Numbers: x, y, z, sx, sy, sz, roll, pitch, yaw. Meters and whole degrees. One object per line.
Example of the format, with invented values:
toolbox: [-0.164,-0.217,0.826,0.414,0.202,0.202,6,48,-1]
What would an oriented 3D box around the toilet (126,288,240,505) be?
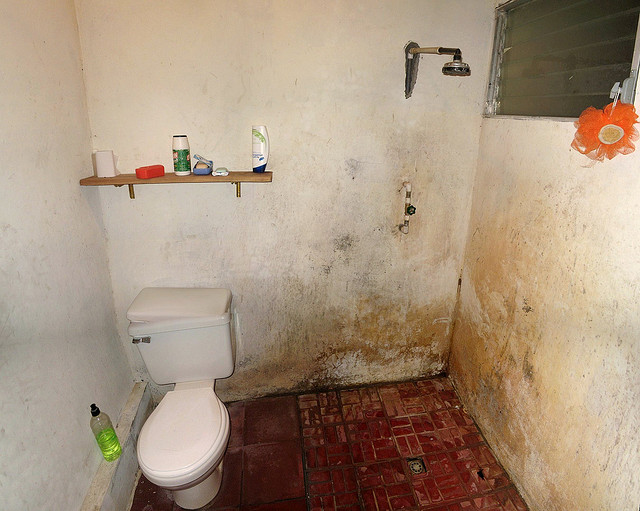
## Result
toilet: [-0.715,0.758,2.706,0.627,1.027,0.874,-7,16,-10]

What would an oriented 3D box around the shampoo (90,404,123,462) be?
shampoo: [-1.074,0.911,2.551,0.129,0.298,0.126,-8,22,-22]

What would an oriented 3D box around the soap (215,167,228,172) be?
soap: [-0.521,-0.450,2.676,0.032,0.009,0.031,10,24,24]

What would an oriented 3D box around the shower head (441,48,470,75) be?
shower head: [0.626,-0.883,2.345,0.111,0.109,0.115,3,19,-2]

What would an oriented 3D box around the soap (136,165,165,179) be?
soap: [-0.873,-0.437,2.653,0.094,0.056,0.178,4,17,25]

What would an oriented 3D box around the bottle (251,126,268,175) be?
bottle: [-0.319,-0.550,2.682,0.088,0.245,0.066,-5,15,-6]

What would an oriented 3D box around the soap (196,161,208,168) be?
soap: [-0.620,-0.473,2.660,0.059,0.034,0.022,-1,16,12]
